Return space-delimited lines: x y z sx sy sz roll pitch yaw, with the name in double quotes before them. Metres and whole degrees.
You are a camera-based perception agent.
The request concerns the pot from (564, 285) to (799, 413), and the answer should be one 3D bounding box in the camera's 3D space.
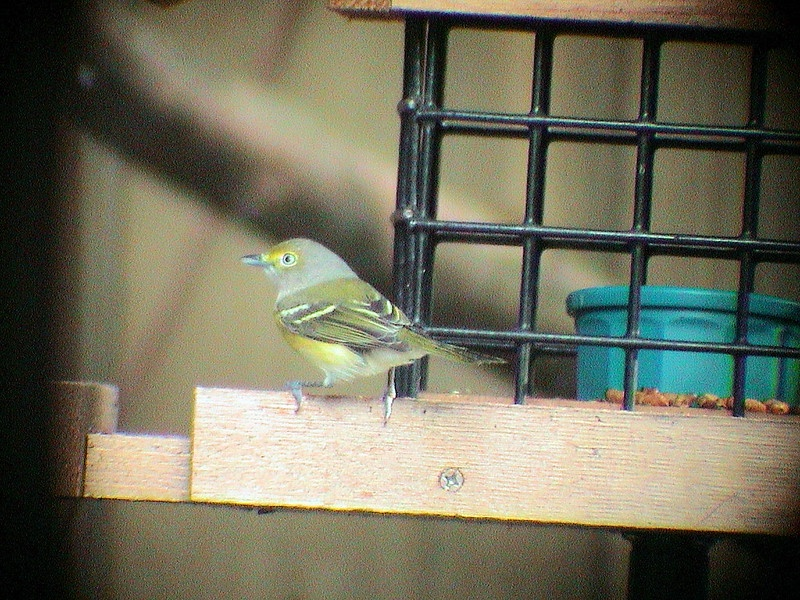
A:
"pot" 1.236 0.166 7.166 0.621 0.313 0.631 6 -2 0
